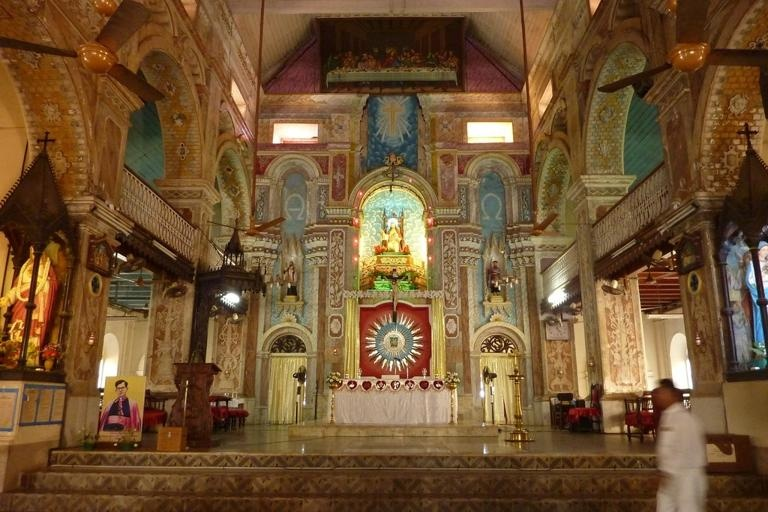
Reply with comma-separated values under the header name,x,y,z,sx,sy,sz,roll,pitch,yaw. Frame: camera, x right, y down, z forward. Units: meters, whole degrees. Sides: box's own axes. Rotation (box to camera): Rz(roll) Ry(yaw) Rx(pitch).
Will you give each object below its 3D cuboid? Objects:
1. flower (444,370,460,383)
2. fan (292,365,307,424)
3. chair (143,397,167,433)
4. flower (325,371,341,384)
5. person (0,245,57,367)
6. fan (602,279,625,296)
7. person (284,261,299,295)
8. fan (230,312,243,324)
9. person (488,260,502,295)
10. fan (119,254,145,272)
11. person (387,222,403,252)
name,x,y,z,sx,sy,sz,roll,pitch,yaw
flower,1.752,3.148,14.817,0.308,0.286,0.283,1,-20,-5
fan,-2.934,4.703,19.799,0.498,1.912,1.535,3,-20,-8
chair,-6.187,4.270,15.566,0.600,0.924,1.837,8,-22,-21
flower,-1.297,3.233,15.074,0.323,0.346,0.431,-1,-20,1
person,-7.037,0.916,11.427,0.895,2.446,0.558,10,-22,-26
fan,6.160,0.865,15.407,0.513,0.229,0.517,3,-6,13
person,-3.384,0.837,20.967,0.531,1.270,0.345,4,-20,-11
fan,-4.998,2.099,19.436,0.485,0.370,0.486,-1,-17,4
person,3.989,0.718,20.905,0.459,1.296,0.348,-4,-20,10
fan,-6.367,0.183,14.512,0.529,0.428,0.881,7,-21,-19
person,0.387,-0.651,21.525,0.564,1.169,0.168,0,-20,0
